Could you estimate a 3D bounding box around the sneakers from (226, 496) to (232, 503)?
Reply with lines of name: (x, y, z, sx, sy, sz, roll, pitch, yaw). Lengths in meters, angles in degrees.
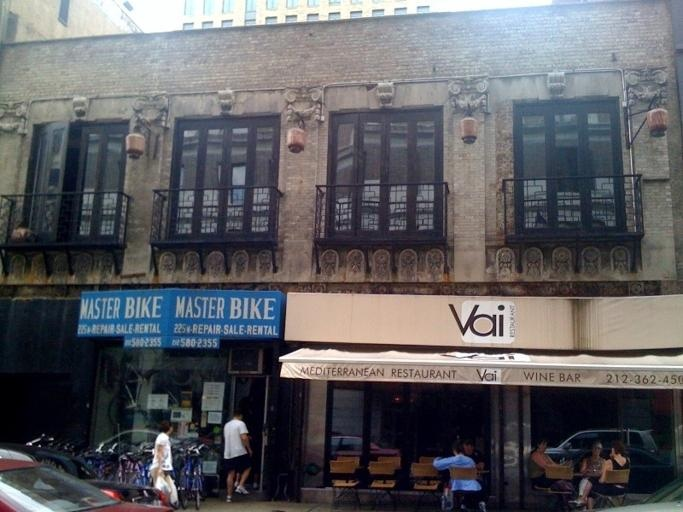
sneakers: (-2.699, 5.762, 19.081, 0.126, 0.129, 0.245, 1, -10, -8)

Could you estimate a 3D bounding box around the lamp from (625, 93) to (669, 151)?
lamp: (7.283, -3.329, 19.257, 0.899, 1.266, 1.070, -4, -10, 17)

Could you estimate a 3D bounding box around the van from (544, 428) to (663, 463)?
van: (6.287, 4.386, 19.271, 1.987, 0.806, 0.996, 0, -12, 10)

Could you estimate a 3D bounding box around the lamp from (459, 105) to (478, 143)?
lamp: (3.149, -3.315, 19.899, 0.424, 1.185, 0.929, -3, -10, 10)

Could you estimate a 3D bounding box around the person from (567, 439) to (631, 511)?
person: (5.841, 4.922, 18.095, 1.225, 1.428, 0.706, -4, -11, 18)

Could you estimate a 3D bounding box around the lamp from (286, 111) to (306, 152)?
lamp: (-1.168, -3.262, 20.570, 0.439, 1.348, 0.927, -1, -10, -1)

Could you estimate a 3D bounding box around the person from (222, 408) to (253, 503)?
person: (-2.532, 4.794, 19.388, 0.691, 2.131, 0.778, 1, -10, -9)

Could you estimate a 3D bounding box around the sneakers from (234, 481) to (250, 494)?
sneakers: (-2.448, 5.538, 19.194, 0.401, 0.190, 0.188, 6, -17, 20)
